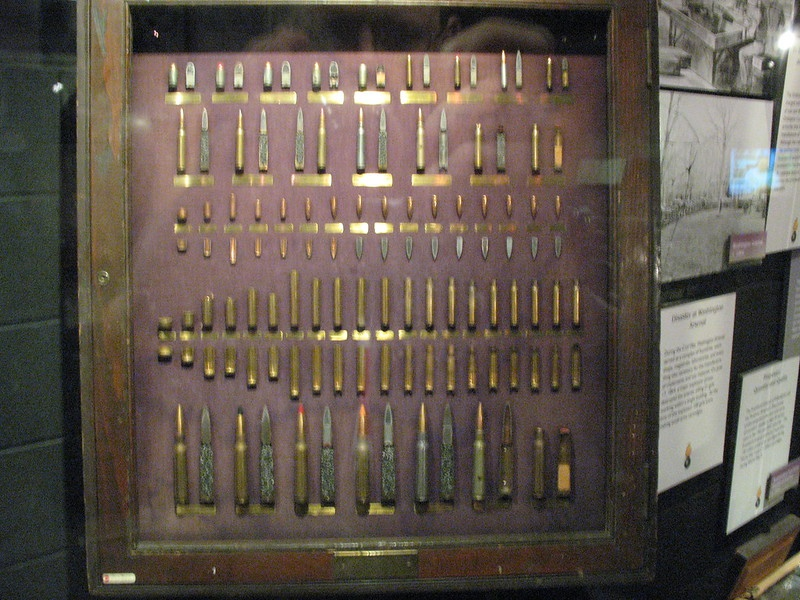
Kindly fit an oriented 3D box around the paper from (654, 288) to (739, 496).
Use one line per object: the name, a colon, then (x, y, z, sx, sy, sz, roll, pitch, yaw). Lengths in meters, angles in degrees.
paper: (0.908, 0.270, 3.398, 0.470, 0.658, 0.038, -12, 15, -36)
